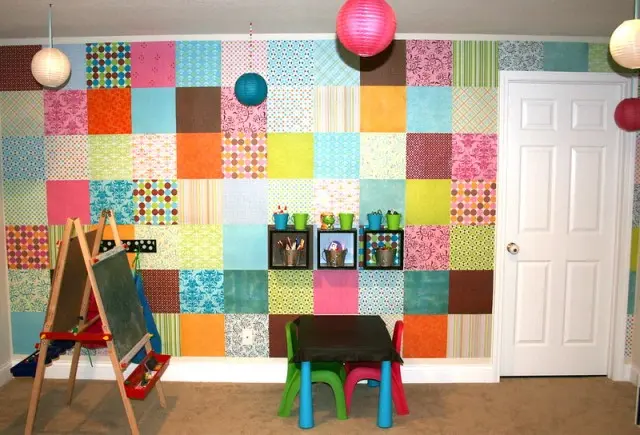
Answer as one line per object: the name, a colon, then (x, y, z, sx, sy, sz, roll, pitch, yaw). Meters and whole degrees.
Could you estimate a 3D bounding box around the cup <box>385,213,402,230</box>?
cup: (0.698, 0.020, 5.239, 0.138, 0.172, 0.182, -1, 5, 2)

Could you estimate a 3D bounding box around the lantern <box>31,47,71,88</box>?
lantern: (-2.336, -1.272, 4.774, 0.332, 0.384, 0.336, 1, 4, 4)

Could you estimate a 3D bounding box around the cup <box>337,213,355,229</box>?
cup: (0.250, 0.029, 5.248, 0.159, 0.152, 0.222, -1, 4, 2)

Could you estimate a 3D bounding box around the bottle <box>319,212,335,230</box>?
bottle: (0.072, 0.035, 5.273, 0.142, 0.161, 0.152, 1, 5, 1)

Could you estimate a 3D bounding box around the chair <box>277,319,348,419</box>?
chair: (-0.072, 1.352, 5.054, 0.710, 0.777, 0.688, 3, 11, 11)

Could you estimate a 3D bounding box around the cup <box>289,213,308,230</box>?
cup: (-0.201, 0.027, 5.192, 0.156, 0.128, 0.132, 2, -2, -41)

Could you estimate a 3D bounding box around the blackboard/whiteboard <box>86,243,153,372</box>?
blackboard/whiteboard: (-1.710, 0.732, 4.719, 0.228, 0.925, 0.505, 0, 5, 8)

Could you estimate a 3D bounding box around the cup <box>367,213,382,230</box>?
cup: (0.518, 0.034, 5.246, 0.161, 0.134, 0.131, 1, 1, -2)

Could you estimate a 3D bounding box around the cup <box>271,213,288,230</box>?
cup: (-0.386, 0.032, 5.151, 0.162, 0.125, 0.140, -1, -2, 14)

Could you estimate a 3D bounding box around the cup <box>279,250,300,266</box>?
cup: (-0.282, 0.382, 5.186, 0.154, 0.114, 0.139, 0, 1, -10)

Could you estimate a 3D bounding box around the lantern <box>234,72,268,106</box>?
lantern: (-0.642, -1.175, 5.013, 0.291, 0.331, 0.274, -5, 6, -27)

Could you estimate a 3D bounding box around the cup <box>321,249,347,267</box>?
cup: (0.138, 0.382, 5.236, 0.155, 0.117, 0.178, 0, 0, -9)

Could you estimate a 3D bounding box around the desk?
desk: (0.195, 1.223, 4.908, 0.834, 0.556, 1.132, 0, 3, 0)

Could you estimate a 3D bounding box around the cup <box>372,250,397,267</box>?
cup: (0.615, 0.382, 5.256, 0.168, 0.129, 0.159, 0, -1, 0)
